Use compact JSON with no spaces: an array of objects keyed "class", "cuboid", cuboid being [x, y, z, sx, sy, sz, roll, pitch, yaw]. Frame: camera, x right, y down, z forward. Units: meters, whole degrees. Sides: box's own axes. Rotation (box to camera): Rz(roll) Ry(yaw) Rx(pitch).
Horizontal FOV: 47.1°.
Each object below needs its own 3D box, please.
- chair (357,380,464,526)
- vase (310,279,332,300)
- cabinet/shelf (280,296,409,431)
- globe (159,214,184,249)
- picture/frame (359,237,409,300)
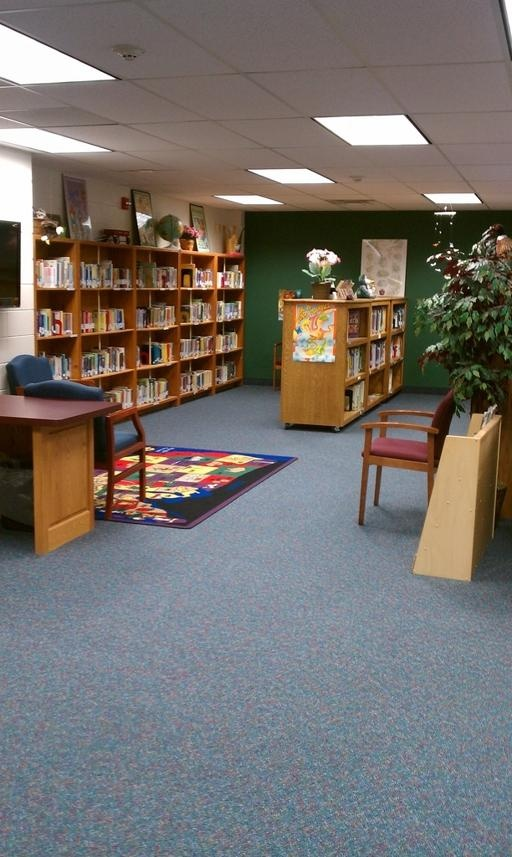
[{"class":"chair","cuboid":[1.105,0.191,4.271,0.681,0.974,0.664,2,10,11]},{"class":"vase","cuboid":[0.772,-1.643,7.015,0.234,0.180,0.229,-8,11,-40]},{"class":"cabinet/shelf","cuboid":[1.255,-0.715,8.227,0.644,1.297,2.594,4,10,23]},{"class":"globe","cuboid":[-1.254,-2.938,8.920,0.426,0.553,0.443,1,8,10]},{"class":"picture/frame","cuboid":[2.315,-2.828,10.485,0.791,1.146,0.040,3,46,15]}]
